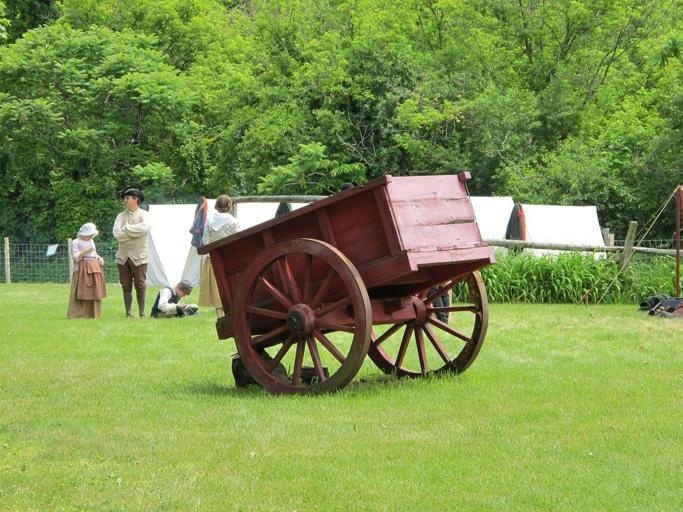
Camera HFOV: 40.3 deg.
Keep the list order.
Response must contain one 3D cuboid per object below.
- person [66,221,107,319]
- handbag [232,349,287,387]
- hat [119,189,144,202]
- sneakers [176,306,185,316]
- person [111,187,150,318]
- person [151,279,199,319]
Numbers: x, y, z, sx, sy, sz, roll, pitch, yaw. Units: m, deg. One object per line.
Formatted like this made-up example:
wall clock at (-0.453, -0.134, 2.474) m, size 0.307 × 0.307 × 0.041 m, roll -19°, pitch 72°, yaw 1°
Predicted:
person at (-4.865, 0.316, 17.772) m, size 0.691 × 1.803 × 0.875 m, roll -2°, pitch 13°, yaw -11°
handbag at (-1.057, 1.460, 12.015) m, size 0.730 × 0.470 × 0.373 m, roll 1°, pitch 12°, yaw 3°
hat at (-3.941, -1.179, 17.709) m, size 0.296 × 0.127 × 0.328 m, roll 1°, pitch -9°, yaw 21°
sneakers at (-3.061, 1.041, 17.710) m, size 0.142 × 0.189 × 0.061 m, roll -1°, pitch 13°, yaw -9°
person at (-3.988, -0.055, 17.903) m, size 0.696 × 2.500 × 0.995 m, roll -2°, pitch 13°, yaw -12°
person at (-3.199, 0.835, 17.963) m, size 0.870 × 0.681 × 0.684 m, roll 4°, pitch 3°, yaw 16°
